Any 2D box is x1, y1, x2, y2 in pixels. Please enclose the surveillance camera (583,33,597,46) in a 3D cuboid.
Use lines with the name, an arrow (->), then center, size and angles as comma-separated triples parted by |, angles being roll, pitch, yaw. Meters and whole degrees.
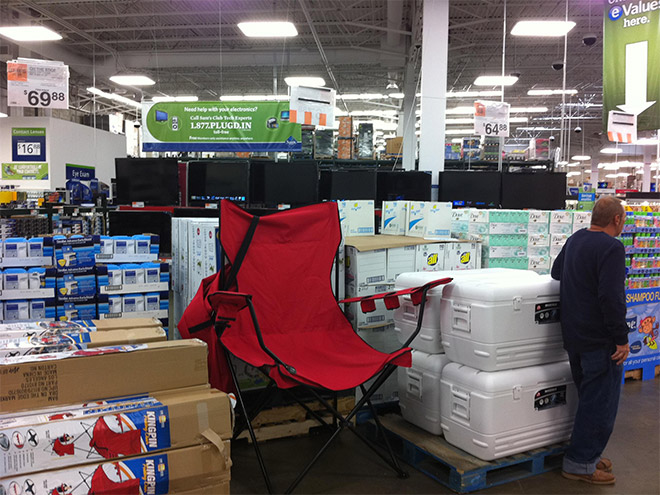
surveillance camera -> 4.074, -3.268, 9.532 | 0.153, 0.188, 0.454 | 0, 6, 27

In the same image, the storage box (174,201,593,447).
storage box -> -0.043, 0.558, 4.776 | 1.928, 2.269, 1.919 | 3, -18, -23

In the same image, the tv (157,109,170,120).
tv -> -2.683, -2.125, 9.716 | 0.159, 0.151, 0.031 | 1, 8, -7

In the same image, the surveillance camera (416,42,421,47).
surveillance camera -> 1.704, -3.879, 11.666 | 0.125, 0.033, 0.138 | 1, 4, 0

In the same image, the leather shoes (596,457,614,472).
leather shoes -> 1.825, 1.429, 4.036 | 0.070, 0.049, 0.126 | -5, -11, 16

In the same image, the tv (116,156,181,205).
tv -> -2.381, -0.869, 8.004 | 0.606, 0.442, 0.085 | 0, 1, -3

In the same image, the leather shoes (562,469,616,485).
leather shoes -> 1.700, 1.480, 3.993 | 0.292, 0.134, 0.112 | -3, 0, 10

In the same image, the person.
person -> 1.701, 0.591, 3.978 | 0.453, 1.840, 0.368 | -1, 6, 16
